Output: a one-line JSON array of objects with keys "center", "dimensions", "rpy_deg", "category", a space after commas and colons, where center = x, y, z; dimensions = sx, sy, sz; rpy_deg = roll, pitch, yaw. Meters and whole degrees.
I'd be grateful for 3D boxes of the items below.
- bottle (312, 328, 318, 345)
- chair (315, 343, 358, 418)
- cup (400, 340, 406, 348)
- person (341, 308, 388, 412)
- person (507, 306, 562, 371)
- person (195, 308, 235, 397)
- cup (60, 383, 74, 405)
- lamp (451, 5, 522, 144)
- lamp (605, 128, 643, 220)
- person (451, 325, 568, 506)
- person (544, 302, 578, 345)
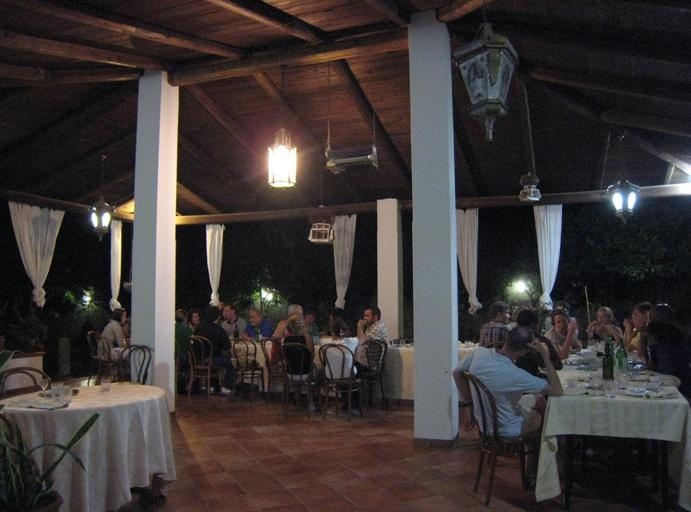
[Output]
[{"center": [-0.452, 1.161, 8.340], "dimensions": [0.132, 0.241, 0.139], "rpy_deg": [0, -1, 0], "category": "bottle"}, {"center": [-0.085, 1.556, 7.400], "dimensions": [0.507, 0.972, 0.837], "rpy_deg": [-1, 1, 0], "category": "chair"}, {"center": [0.839, 1.259, 8.281], "dimensions": [0.062, 0.098, 0.069], "rpy_deg": [2, -2, -28], "category": "cup"}, {"center": [0.248, 1.250, 7.848], "dimensions": [0.592, 1.227, 0.476], "rpy_deg": [6, 13, 13], "category": "person"}, {"center": [1.894, 0.903, 5.518], "dimensions": [0.330, 0.334, 0.993], "rpy_deg": [-9, 23, 24], "category": "person"}, {"center": [-1.945, 1.414, 8.464], "dimensions": [0.547, 1.343, 0.548], "rpy_deg": [-1, 1, 8], "category": "person"}, {"center": [-2.255, 1.116, 4.580], "dimensions": [0.116, 0.213, 0.124], "rpy_deg": [0, -10, 0], "category": "cup"}, {"center": [1.073, -1.387, 4.390], "dimensions": [0.478, 0.984, 0.318], "rpy_deg": [-1, 1, 18], "category": "lamp"}, {"center": [4.215, -1.154, 8.618], "dimensions": [0.421, 1.281, 1.829], "rpy_deg": [-1, 1, 28], "category": "lamp"}, {"center": [1.394, 1.264, 4.972], "dimensions": [0.719, 1.331, 0.617], "rpy_deg": [-4, 21, 11], "category": "person"}, {"center": [2.788, 0.873, 7.407], "dimensions": [0.319, 0.802, 0.274], "rpy_deg": [-7, -23, 15], "category": "person"}]
